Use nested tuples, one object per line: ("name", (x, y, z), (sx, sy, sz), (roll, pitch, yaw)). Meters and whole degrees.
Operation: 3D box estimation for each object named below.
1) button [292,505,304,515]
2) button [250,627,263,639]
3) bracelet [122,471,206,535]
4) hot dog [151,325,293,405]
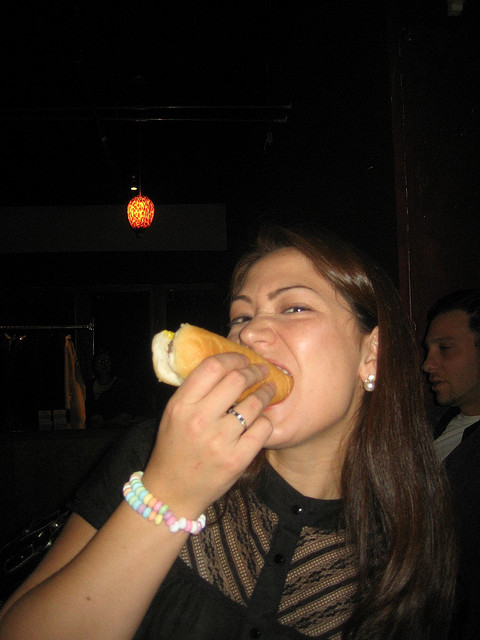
("button", (0.196, 0.645, 1.776), (0.025, 0.016, 0.029), (32, -35, -18))
("button", (0.050, 0.969, 1.622), (0.029, 0.029, 0.008), (-3, -7, -8))
("bracelet", (-0.207, 0.507, 1.420), (0.179, 0.050, 0.151), (33, 5, -6))
("hot dog", (-0.026, 0.150, 1.634), (0.493, 0.181, 0.224), (16, 11, -18))
